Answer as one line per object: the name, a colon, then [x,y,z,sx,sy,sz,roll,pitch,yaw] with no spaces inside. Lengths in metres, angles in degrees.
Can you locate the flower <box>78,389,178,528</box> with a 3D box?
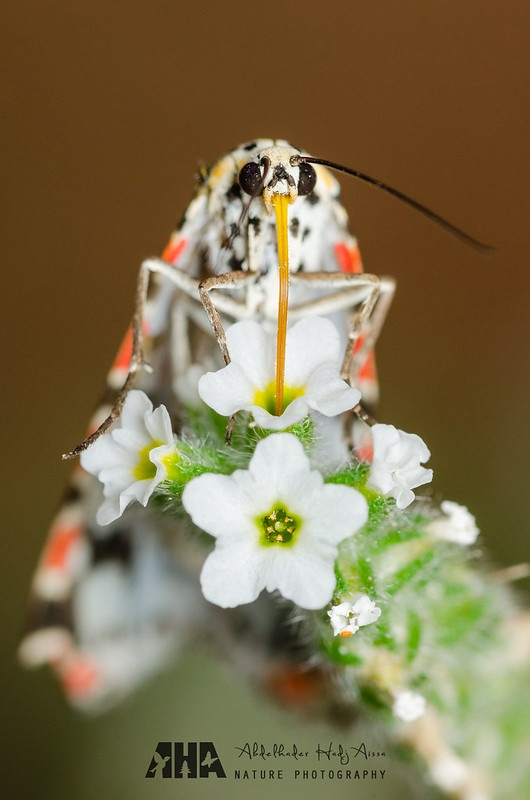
flower: [-0.092,0.038,0.509,0.051,0.092,0.106,-2,-2,-26]

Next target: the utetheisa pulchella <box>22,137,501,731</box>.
utetheisa pulchella: [-0.080,0.086,0.858,0.170,0.498,0.555,-26,-30,30]

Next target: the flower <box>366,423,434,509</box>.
flower: [0.088,0.044,0.474,0.025,0.055,0.048,-4,-3,38]

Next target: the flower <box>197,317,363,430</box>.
flower: [0.011,-0.013,0.485,0.090,0.091,0.033,-2,-43,-2]
